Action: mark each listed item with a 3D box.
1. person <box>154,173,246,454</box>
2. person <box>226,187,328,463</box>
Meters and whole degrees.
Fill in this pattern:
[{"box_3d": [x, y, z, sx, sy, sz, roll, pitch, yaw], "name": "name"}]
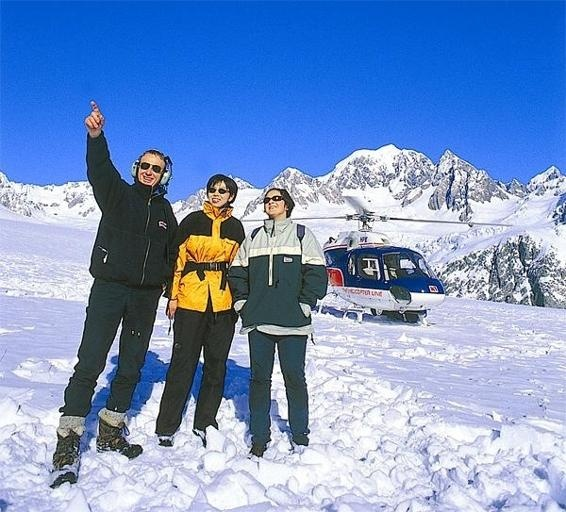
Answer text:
[{"box_3d": [-0.827, 0.510, 5.023, 0.870, 2.797, 1.013, 1, 1, -16], "name": "person"}, {"box_3d": [-0.091, 0.569, 4.745, 0.824, 2.627, 0.897, 1, 1, -6], "name": "person"}]
